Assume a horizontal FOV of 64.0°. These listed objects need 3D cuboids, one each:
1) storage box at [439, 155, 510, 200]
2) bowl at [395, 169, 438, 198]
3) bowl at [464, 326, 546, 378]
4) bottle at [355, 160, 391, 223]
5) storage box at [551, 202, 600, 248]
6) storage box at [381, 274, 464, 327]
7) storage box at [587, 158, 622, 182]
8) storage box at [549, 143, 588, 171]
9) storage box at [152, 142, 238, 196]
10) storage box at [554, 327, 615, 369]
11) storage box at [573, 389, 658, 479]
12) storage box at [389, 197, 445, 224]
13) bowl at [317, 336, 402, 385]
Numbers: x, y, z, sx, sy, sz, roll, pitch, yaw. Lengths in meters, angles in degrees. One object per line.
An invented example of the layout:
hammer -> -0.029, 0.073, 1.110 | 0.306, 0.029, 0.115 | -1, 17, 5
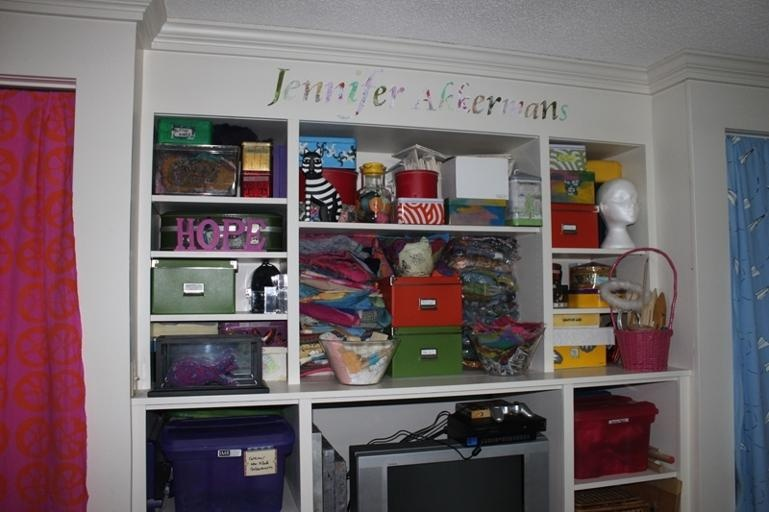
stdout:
storage box -> 0.607, -0.457, 3.410 | 0.401, 0.238, 0.408 | 10, 20, 44
bowl -> 0.159, -0.376, 3.251 | 0.175, 0.099, 0.171 | 1, -3, 0
bowl -> 0.622, 0.479, 3.186 | 0.315, 0.196, 0.281 | 6, -11, -41
bottle -> -0.060, -0.326, 3.284 | 0.200, 0.323, 0.201 | 0, 5, 0
storage box -> 1.044, -0.161, 3.380 | 0.266, 0.178, 0.256 | 0, -2, -10
storage box -> 0.209, 0.230, 3.164 | 0.309, 0.192, 0.299 | -3, 0, 9
storage box -> 1.264, -0.492, 3.502 | 0.153, 0.091, 0.147 | 0, -4, 14
storage box -> 1.011, -0.547, 3.392 | 0.275, 0.167, 0.143 | 0, -1, -1
storage box -> -1.003, -0.417, 3.132 | 0.535, 0.245, 0.525 | -1, 0, -4
storage box -> 1.149, 0.525, 3.492 | 0.434, 0.182, 0.404 | 1, -7, 4
storage box -> 1.113, 0.968, 3.396 | 0.631, 0.395, 0.503 | 8, -11, -28
storage box -> 0.182, -0.235, 3.196 | 0.218, 0.103, 0.148 | 4, -2, -31
bowl -> -0.138, 0.539, 3.153 | 0.426, 0.220, 0.408 | 0, -13, 0
